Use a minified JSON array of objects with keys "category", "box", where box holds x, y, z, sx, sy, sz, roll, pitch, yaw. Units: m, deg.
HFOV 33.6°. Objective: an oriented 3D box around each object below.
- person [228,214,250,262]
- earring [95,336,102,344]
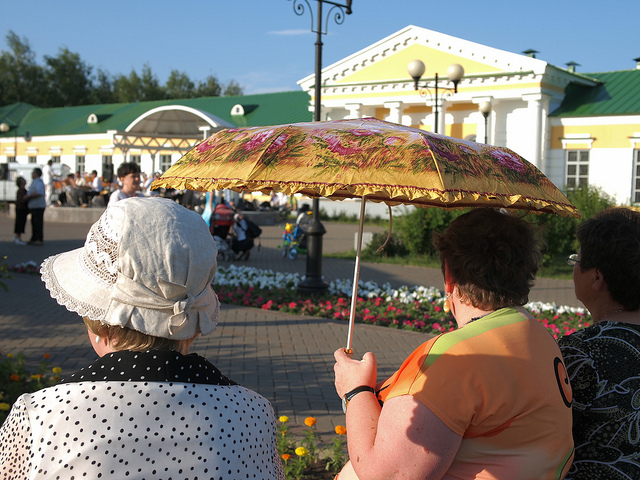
[{"category":"person","box":[-1.572,-0.046,20.342,0.337,1.191,0.452,1,-6,-5]},{"category":"earring","box":[-1.528,0.686,7.279,0.047,0.053,0.007,3,9,12]}]
